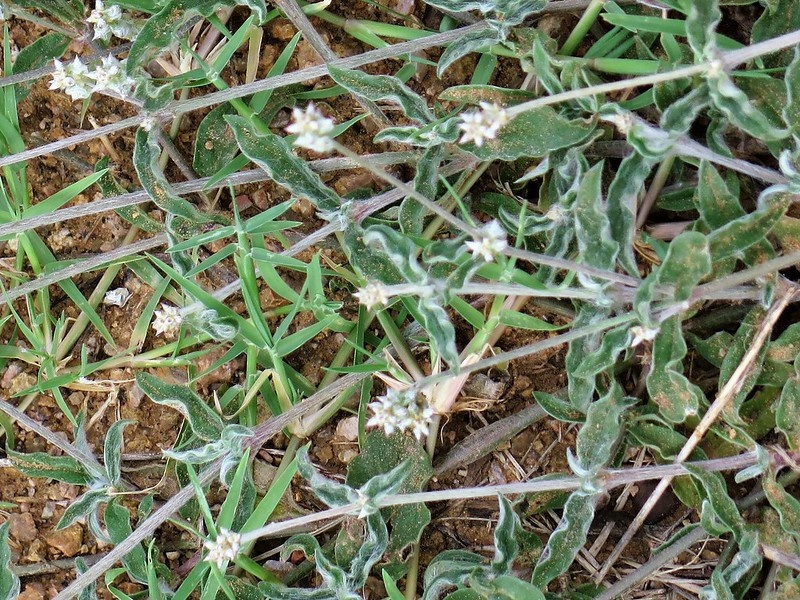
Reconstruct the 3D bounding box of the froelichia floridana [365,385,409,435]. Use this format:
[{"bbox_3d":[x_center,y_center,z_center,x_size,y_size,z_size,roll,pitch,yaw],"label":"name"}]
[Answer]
[{"bbox_3d":[-0.025,0.263,1.861,0.090,0.100,0.106,4,63,3],"label":"froelichia floridana"}]
